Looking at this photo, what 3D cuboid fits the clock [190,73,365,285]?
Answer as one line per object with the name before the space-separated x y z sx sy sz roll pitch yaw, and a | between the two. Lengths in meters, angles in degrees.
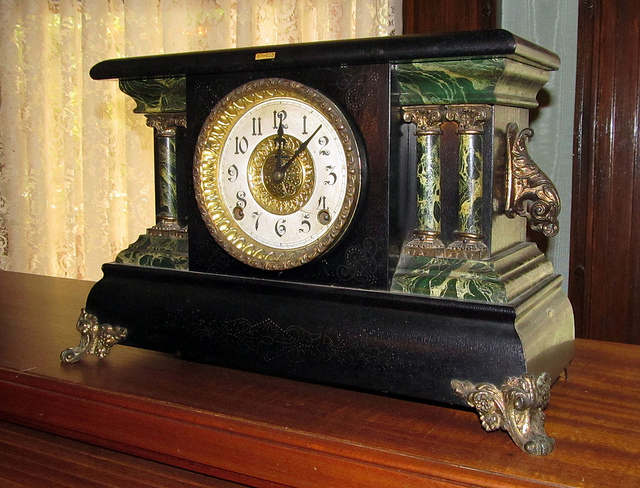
clock | -0.063 -0.118 1.105 0.303 0.361 0.049 3 4 26
